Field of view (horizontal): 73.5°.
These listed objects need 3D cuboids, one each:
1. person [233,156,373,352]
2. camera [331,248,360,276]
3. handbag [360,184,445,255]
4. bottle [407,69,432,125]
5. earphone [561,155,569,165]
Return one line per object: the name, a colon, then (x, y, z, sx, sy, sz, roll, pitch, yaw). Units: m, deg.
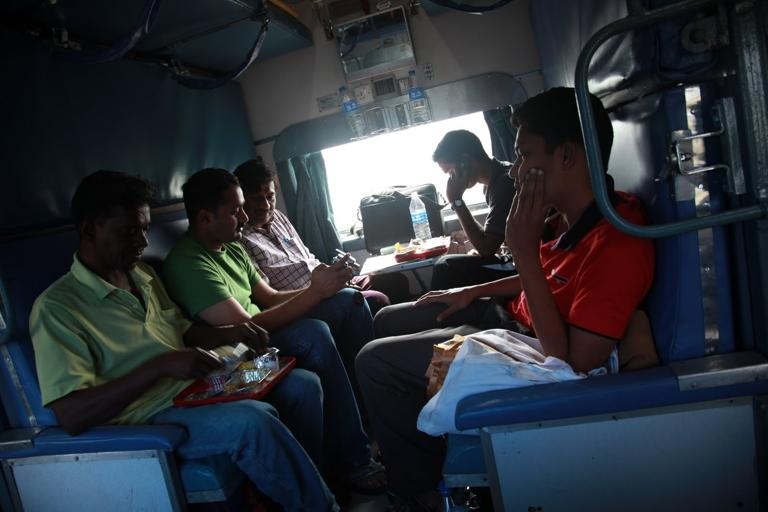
person: (-0.553, -0.083, 3.804, 0.978, 1.192, 0.781, -4, 25, 23)
camera: (-0.285, 0.013, 4.129, 0.089, 0.260, 0.260, -43, 40, 17)
handbag: (0.204, -0.324, 4.750, 0.747, 0.642, 0.426, -11, -8, 19)
bottle: (0.304, -1.524, 4.974, 0.218, 0.530, 0.129, -10, 6, -3)
earphone: (0.692, -0.367, 1.967, 0.021, 0.024, 0.027, -1, 14, 4)
